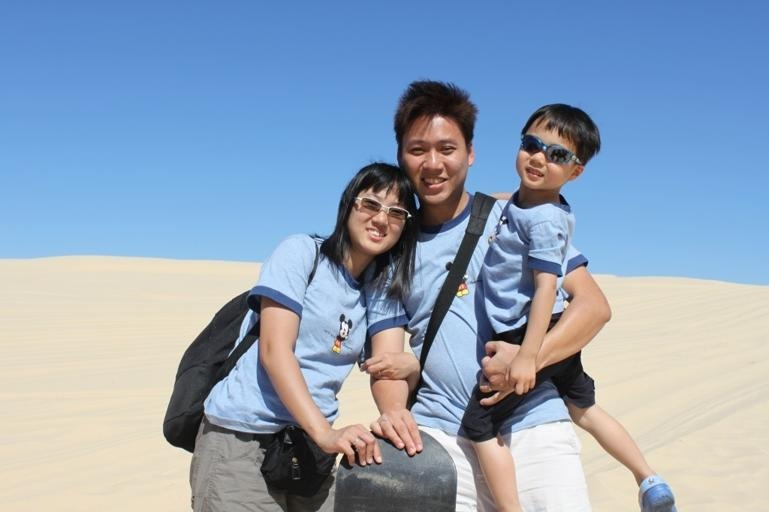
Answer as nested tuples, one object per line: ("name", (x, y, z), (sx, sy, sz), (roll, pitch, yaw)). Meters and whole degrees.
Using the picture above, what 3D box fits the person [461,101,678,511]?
("person", (1.265, 0.373, 4.572), (1.527, 3.109, 0.763), (-4, 10, -28))

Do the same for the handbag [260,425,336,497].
("handbag", (-0.658, 1.498, 4.201), (0.519, 0.524, 0.230), (23, 30, -23))

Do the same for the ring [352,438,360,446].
("ring", (-0.196, 1.264, 3.944), (0.042, 0.058, 0.021), (14, 5, 9))
